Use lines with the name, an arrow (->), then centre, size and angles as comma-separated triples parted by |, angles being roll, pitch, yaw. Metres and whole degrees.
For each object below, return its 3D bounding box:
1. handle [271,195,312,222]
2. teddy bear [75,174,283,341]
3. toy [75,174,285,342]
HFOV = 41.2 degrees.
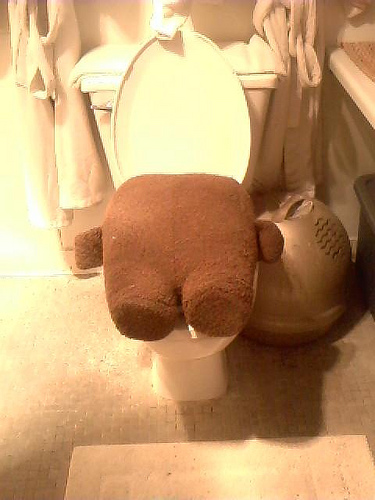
handle -> 0.264, -0.103, 1.265 | 0.071, 0.052, 0.137 | 21, 37, 33
teddy bear -> -0.010, 0.010, 0.964 | 0.385, 0.133, 0.327 | -1, 58, 0
toy -> 0.008, -0.001, 0.972 | 0.349, 0.185, 0.363 | 4, 42, 5
